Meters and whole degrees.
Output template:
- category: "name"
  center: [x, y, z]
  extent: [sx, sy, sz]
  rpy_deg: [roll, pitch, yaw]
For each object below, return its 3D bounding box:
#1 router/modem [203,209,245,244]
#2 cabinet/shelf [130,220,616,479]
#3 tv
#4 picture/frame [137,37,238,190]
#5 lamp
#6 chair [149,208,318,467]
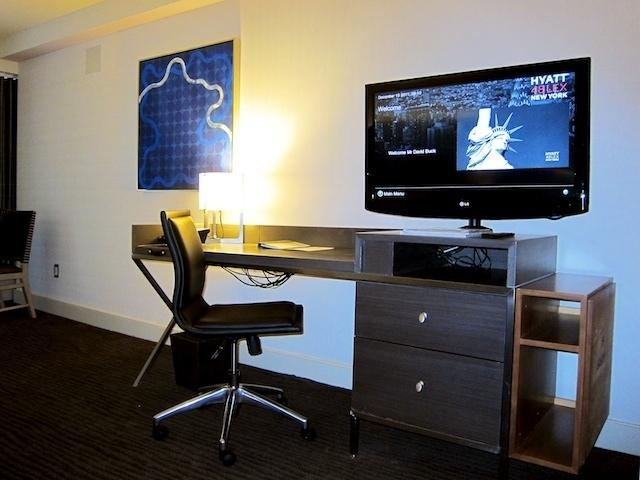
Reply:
- category: "router/modem"
  center: [-0.672, -0.086, 3.425]
  extent: [0.287, 0.245, 0.044]
  rpy_deg: [2, -11, -25]
- category: "cabinet/shelf"
  center: [0.647, 0.489, 2.514]
  extent: [1.567, 1.108, 0.719]
  rpy_deg: [5, 12, 22]
- category: "tv"
  center: [0.842, -0.476, 2.565]
  extent: [0.957, 0.717, 0.112]
  rpy_deg: [1, 0, 30]
- category: "picture/frame"
  center: [-1.088, -0.984, 3.908]
  extent: [0.080, 0.930, 0.962]
  rpy_deg: [14, 22, 27]
- category: "lamp"
  center: [-0.655, -0.220, 3.446]
  extent: [0.296, 0.423, 0.301]
  rpy_deg: [6, 0, -39]
- category: "chair"
  center: [-0.486, 0.465, 2.792]
  extent: [0.797, 1.179, 0.853]
  rpy_deg: [1, 2, -13]
